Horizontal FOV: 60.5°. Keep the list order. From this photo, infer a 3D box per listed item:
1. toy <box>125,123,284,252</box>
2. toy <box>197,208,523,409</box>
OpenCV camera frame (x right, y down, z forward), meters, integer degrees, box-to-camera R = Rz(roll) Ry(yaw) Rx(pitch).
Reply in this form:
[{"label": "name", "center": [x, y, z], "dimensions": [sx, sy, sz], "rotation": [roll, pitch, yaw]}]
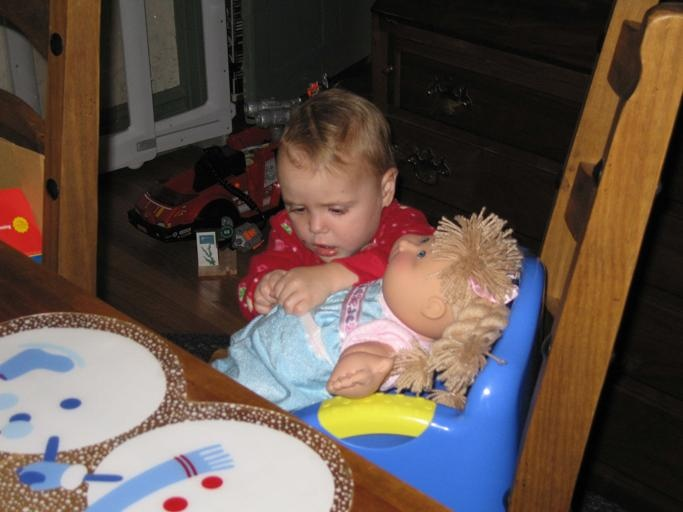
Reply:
[{"label": "toy", "center": [-0.424, -0.227, 2.109], "dimensions": [0.543, 0.231, 0.358], "rotation": [-31, 47, -28]}, {"label": "toy", "center": [0.042, 0.142, 0.892], "dimensions": [0.405, 0.191, 0.322], "rotation": [-6, 33, 23]}]
